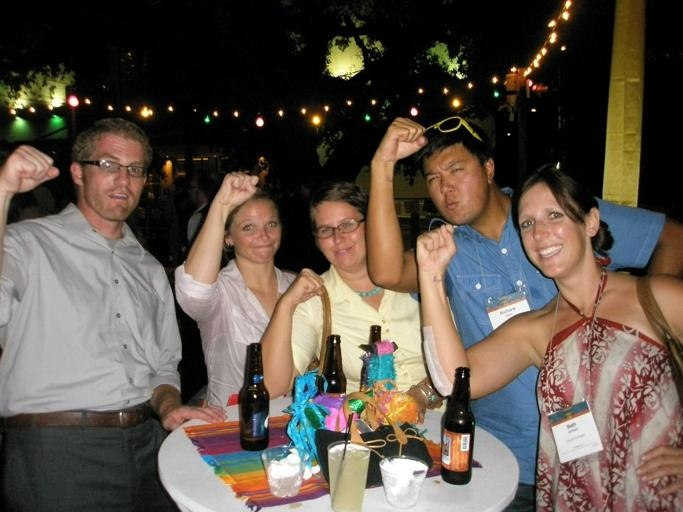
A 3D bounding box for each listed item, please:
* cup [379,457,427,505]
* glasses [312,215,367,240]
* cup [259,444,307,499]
[{"bbox_3d":[0.300,1.117,2.686,0.223,0.210,0.135,-1,3,3],"label":"cup"},{"bbox_3d":[-0.036,-0.195,3.854,0.203,0.065,0.209,-16,4,19],"label":"glasses"},{"bbox_3d":[-0.303,1.081,2.775,0.200,0.165,0.211,-1,-4,0],"label":"cup"}]
